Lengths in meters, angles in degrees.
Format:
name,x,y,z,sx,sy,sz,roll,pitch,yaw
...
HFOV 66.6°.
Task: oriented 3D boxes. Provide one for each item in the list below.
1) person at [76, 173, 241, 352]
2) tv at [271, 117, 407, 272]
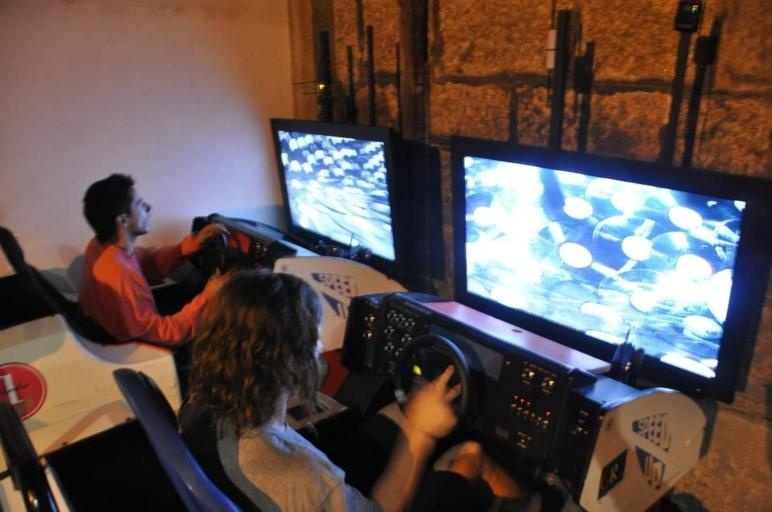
name,x,y,z,sx,sy,sz,roll,pitch,yaw
person,-1.294,-0.030,3.226,0.952,0.777,0.955,-5,24,-23
tv,-0.217,-0.317,2.996,0.862,0.609,0.096,15,37,41
